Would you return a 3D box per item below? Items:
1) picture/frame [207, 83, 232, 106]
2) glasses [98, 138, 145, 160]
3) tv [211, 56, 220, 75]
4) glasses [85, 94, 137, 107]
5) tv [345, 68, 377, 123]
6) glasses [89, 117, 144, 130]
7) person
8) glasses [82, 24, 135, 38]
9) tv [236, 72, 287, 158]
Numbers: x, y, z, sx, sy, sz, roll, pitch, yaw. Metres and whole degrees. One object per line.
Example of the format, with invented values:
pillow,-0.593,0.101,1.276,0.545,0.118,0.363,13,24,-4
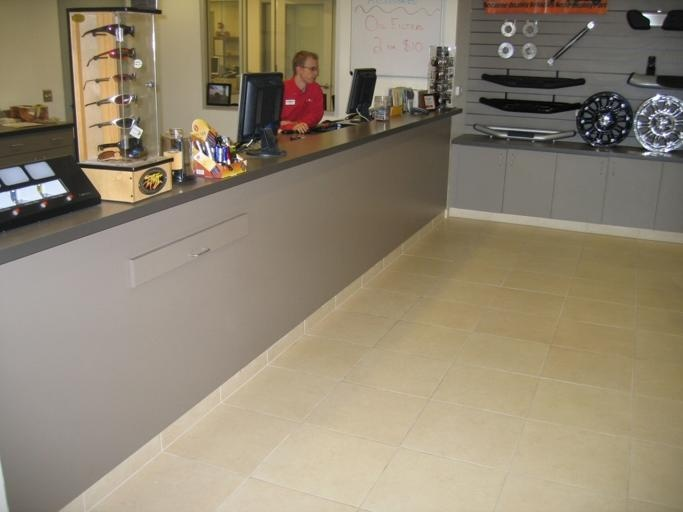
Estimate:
picture/frame,-1.768,-2.303,7.089,0.341,0.343,0.035,0,6,6
glasses,-0.961,-0.466,2.151,0.191,0.091,0.049,-11,22,-25
tv,-1.972,-2.966,7.721,0.134,0.234,0.060,-9,21,-21
glasses,-0.939,-0.636,2.033,0.091,0.026,0.094,3,26,22
tv,0.203,-1.610,4.964,0.211,0.482,0.399,4,20,14
glasses,-0.955,-0.561,2.095,0.091,0.028,0.093,1,25,17
person,-0.430,-1.724,5.219,0.484,0.755,0.525,25,32,30
glasses,-0.929,-0.897,1.974,0.192,0.047,0.045,-11,22,-25
tv,-0.510,-0.976,3.413,0.192,0.545,0.541,14,24,17
